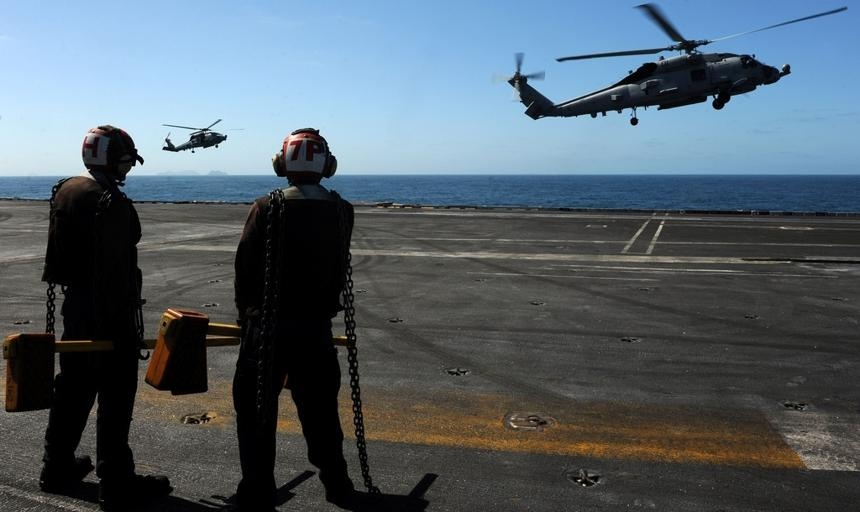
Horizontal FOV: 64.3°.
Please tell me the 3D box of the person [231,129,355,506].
[{"bbox_3d":[-1.172,0.539,6.010,1.076,3.319,1.141,3,15,-14],"label":"person"}]
